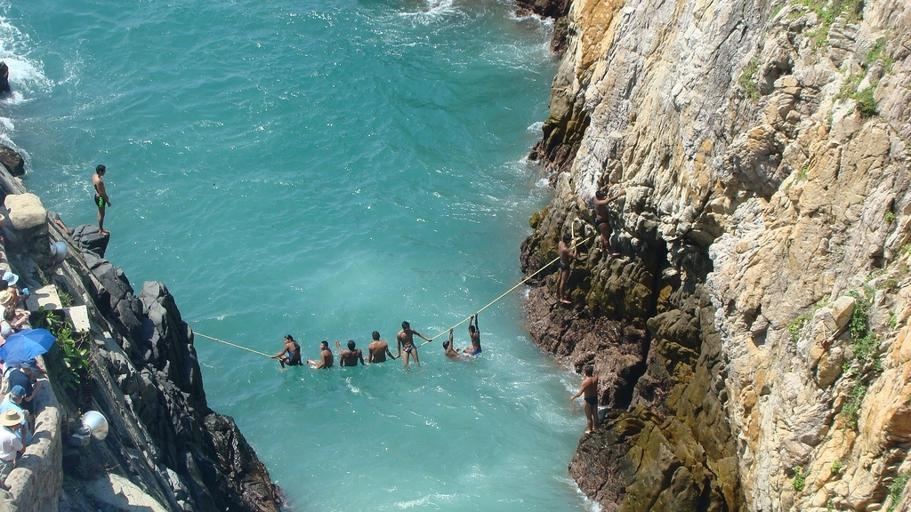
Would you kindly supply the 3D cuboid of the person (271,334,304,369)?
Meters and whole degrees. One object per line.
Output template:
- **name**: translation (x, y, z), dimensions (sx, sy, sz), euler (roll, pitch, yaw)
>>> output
- **person**: translation (-7.555, 4.310, 49.376), dimensions (1.252, 1.525, 0.729), euler (1, 31, -5)

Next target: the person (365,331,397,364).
- **person**: translation (-3.451, 4.277, 49.941), dimensions (1.226, 1.347, 0.785), euler (-4, 46, 1)

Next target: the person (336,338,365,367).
- **person**: translation (-4.709, 4.521, 49.157), dimensions (0.957, 0.764, 1.407), euler (-6, 23, -7)

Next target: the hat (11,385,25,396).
- **hat**: translation (-15.964, 4.910, 39.698), dimensions (0.310, 0.371, 0.414), euler (13, 25, 17)
